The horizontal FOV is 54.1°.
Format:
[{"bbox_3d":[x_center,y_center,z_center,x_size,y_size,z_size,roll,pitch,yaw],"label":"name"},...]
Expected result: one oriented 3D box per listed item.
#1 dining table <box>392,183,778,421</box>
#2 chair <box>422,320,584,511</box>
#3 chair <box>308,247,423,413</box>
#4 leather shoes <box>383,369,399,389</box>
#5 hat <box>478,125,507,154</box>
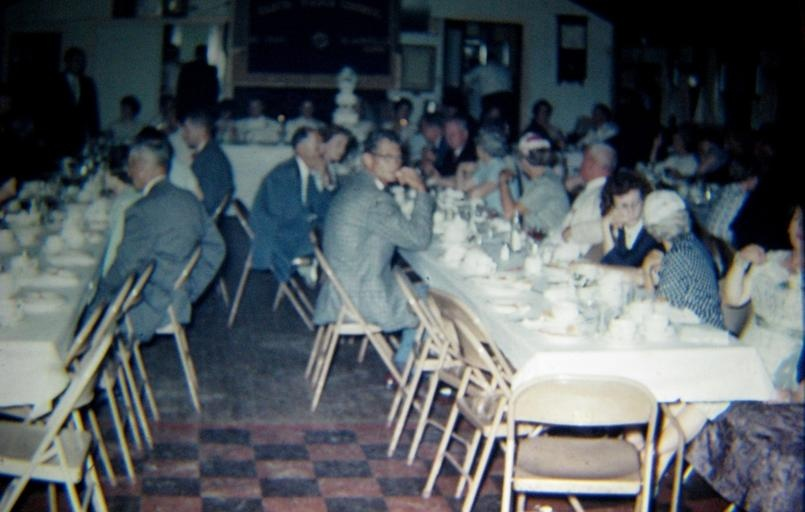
[{"bbox_3d":[1.066,0.449,5.174,1.197,0.642,2.306,-7,15,-36],"label":"dining table"},{"bbox_3d":[0.587,0.927,5.500,1.039,1.553,0.936,0,14,-11],"label":"chair"},{"bbox_3d":[-0.432,0.517,6.437,1.133,1.609,0.824,-2,14,-7],"label":"chair"},{"bbox_3d":[-0.085,0.960,6.363,0.163,0.065,0.170,-4,42,-10],"label":"leather shoes"},{"bbox_3d":[0.845,-1.066,7.310,0.240,0.184,0.212,-6,-6,10],"label":"hat"}]
